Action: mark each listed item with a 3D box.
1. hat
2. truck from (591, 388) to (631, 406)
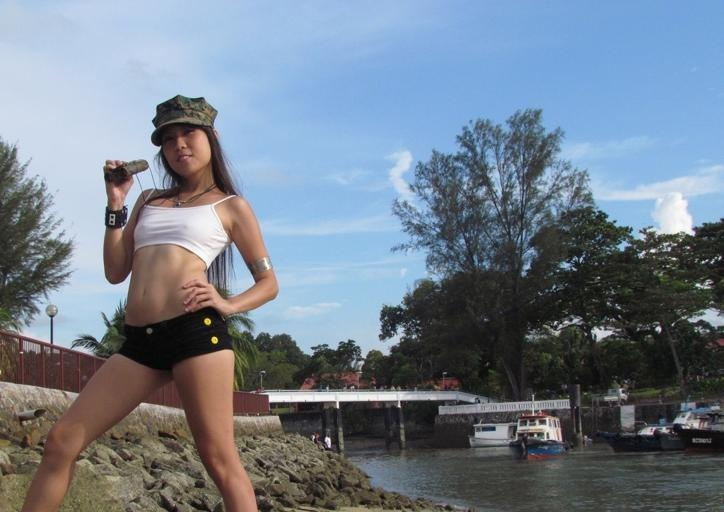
[{"bbox_3d":[-1.079,-0.816,3.735,0.372,0.235,0.486,-10,-12,-2],"label":"hat"},{"bbox_3d":[19.628,11.240,48.463,2.638,1.295,3.182,-9,-13,19],"label":"truck"}]
